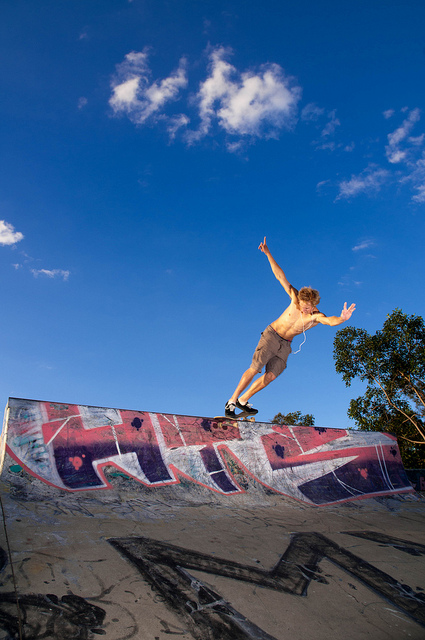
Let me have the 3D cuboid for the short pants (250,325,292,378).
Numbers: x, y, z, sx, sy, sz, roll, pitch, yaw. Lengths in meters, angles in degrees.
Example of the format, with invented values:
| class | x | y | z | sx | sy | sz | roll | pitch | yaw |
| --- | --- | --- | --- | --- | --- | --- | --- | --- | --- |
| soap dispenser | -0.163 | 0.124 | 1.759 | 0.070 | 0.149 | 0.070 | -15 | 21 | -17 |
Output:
| class | x | y | z | sx | sy | sz | roll | pitch | yaw |
| --- | --- | --- | --- | --- | --- | --- | --- | --- | --- |
| short pants | 1.008 | 0.510 | 6.650 | 0.397 | 0.779 | 0.583 | -1 | -13 | 42 |

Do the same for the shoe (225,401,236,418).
| class | x | y | z | sx | sy | sz | roll | pitch | yaw |
| --- | --- | --- | --- | --- | --- | --- | --- | --- | --- |
| shoe | 0.302 | 1.482 | 6.755 | 0.185 | 0.247 | 0.395 | 7 | -9 | 5 |

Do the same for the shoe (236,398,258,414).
| class | x | y | z | sx | sy | sz | roll | pitch | yaw |
| --- | --- | --- | --- | --- | --- | --- | --- | --- | --- |
| shoe | 0.565 | 1.428 | 6.797 | 0.359 | 0.231 | 0.182 | 15 | -11 | -34 |
